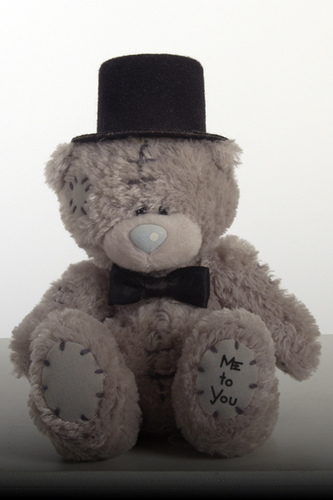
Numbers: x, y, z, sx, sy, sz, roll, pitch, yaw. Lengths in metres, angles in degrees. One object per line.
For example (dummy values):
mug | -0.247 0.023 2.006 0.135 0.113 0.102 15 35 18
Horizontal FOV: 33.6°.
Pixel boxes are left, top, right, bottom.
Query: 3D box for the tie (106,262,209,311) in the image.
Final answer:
tie | -0.017 0.071 1.066 0.214 0.075 0.025 3 -5 -24

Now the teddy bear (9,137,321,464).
teddy bear | -0.033 0.106 1.122 0.595 0.668 0.388 0 15 -6
